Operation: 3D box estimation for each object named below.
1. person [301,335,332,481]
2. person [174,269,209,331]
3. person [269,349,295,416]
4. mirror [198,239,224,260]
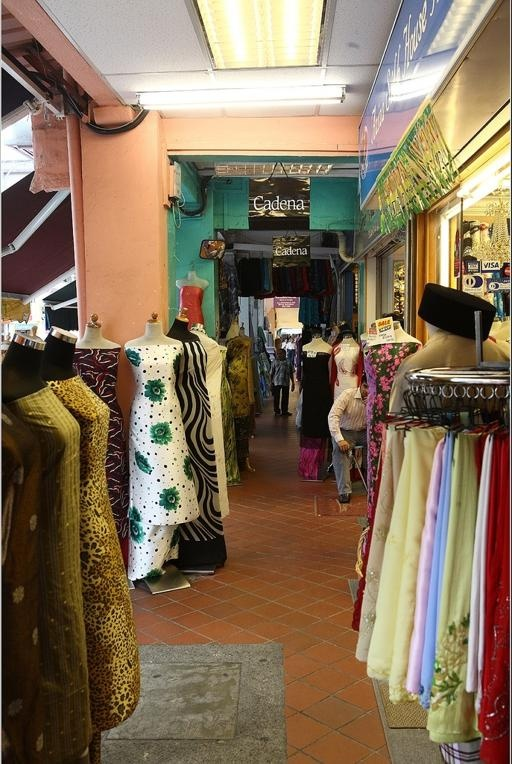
[{"bbox_3d":[0.765,0.261,6.635,0.482,1.949,0.351,-7,-17,39],"label":"person"},{"bbox_3d":[-0.807,-1.016,6.255,0.359,0.874,0.273,6,39,-2],"label":"person"},{"bbox_3d":[0.636,-0.033,12.778,0.496,1.721,1.546,-1,-1,0],"label":"person"},{"bbox_3d":[-0.610,-1.807,6.787,0.316,0.331,0.045,2,-12,-1],"label":"mirror"}]
